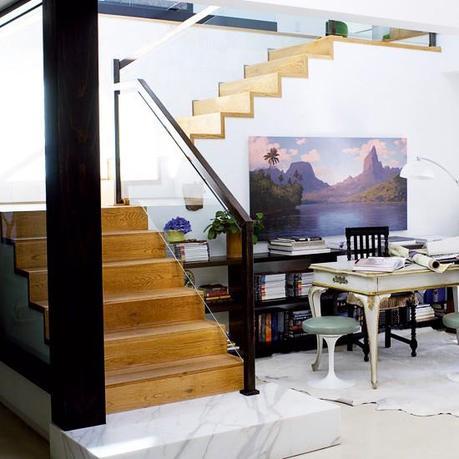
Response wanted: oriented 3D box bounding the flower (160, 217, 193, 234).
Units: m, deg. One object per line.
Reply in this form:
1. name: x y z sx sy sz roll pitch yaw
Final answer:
1. flower: -0.387 -0.032 3.226 0.151 0.105 0.167 1 3 3

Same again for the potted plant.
1. potted plant: -0.027 0.023 2.993 0.459 0.349 0.320 2 4 30

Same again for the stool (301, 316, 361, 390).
1. stool: 0.792 0.974 3.418 0.417 0.509 0.435 1 -2 -11

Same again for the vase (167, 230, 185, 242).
1. vase: -0.422 0.052 3.290 0.114 0.093 0.108 -3 7 -31
